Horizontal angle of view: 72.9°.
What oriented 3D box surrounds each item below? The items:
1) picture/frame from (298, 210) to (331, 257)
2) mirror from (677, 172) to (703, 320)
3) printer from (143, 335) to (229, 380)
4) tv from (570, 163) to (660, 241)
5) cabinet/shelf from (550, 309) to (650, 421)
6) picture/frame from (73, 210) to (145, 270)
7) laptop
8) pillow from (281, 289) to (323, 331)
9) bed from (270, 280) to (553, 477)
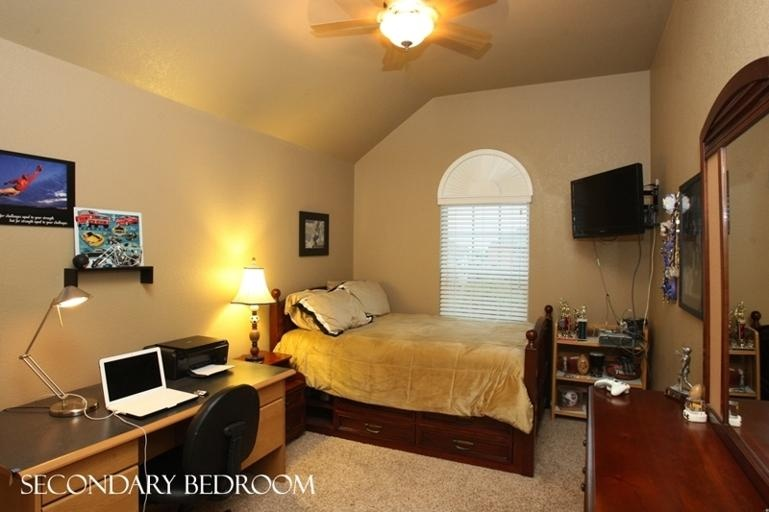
[{"bbox_3d":[-0.770,-0.248,5.752,0.013,0.467,0.476,3,2,34],"label":"picture/frame"},{"bbox_3d":[2.199,-0.075,3.713,0.052,1.190,1.092,-1,1,22],"label":"mirror"},{"bbox_3d":[-1.507,0.702,3.965,0.331,0.173,0.375,2,1,21],"label":"printer"},{"bbox_3d":[2.293,-0.546,5.004,0.569,0.799,1.097,-5,5,-20],"label":"tv"},{"bbox_3d":[1.970,0.959,4.701,1.023,1.247,0.523,-1,-3,22],"label":"cabinet/shelf"},{"bbox_3d":[-2.051,-0.119,3.805,0.020,0.432,0.449,-6,-4,35],"label":"picture/frame"},{"bbox_3d":[-1.610,0.837,3.467,0.421,0.309,0.507,4,-1,24],"label":"laptop"},{"bbox_3d":[-0.827,0.533,5.068,0.125,0.363,0.363,-31,-11,32],"label":"pillow"},{"bbox_3d":[0.281,0.972,4.877,2.347,1.239,1.388,1,2,19],"label":"bed"}]
